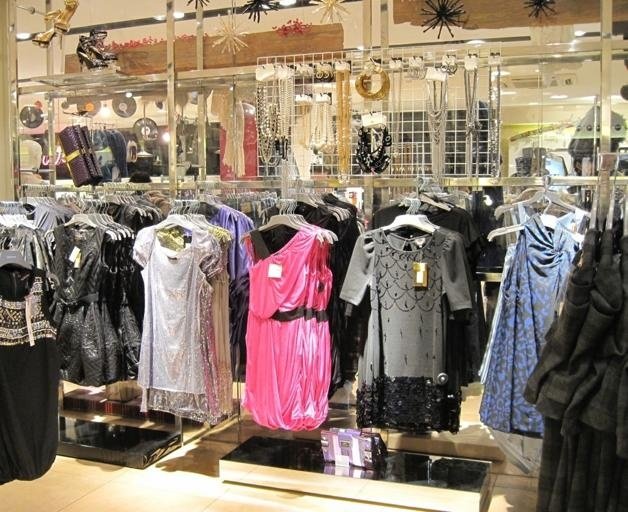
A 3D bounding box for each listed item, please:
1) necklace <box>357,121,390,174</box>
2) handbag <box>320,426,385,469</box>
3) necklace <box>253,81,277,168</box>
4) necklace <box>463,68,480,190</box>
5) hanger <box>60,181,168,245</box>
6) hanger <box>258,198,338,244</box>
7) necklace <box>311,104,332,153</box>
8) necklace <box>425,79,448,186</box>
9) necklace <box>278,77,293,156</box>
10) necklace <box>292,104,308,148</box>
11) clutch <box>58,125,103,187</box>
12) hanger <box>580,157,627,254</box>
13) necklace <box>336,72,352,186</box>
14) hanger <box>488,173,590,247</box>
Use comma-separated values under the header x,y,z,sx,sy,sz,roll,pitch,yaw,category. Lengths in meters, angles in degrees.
x,y,z,sx,sy,sz,roll,pitch,yaw,category
0.419,-0.760,4.030,0.318,0.482,0.064,5,6,37,necklace
0.268,1.221,3.912,0.313,0.233,0.250,1,6,22,handbag
-0.352,-0.974,4.345,0.155,0.596,0.339,0,5,-7,necklace
1.076,-0.902,3.950,0.105,0.735,0.205,2,5,16,necklace
-1.494,-0.364,4.661,0.641,0.341,0.393,0,6,-11,hanger
-0.110,-0.181,3.838,0.534,0.185,0.248,1,6,5,hanger
0.067,-0.953,4.247,0.151,0.346,0.104,0,5,-3,necklace
0.849,-0.888,4.013,0.148,0.761,0.315,2,5,13,necklace
-0.194,-1.009,4.237,0.117,0.583,0.341,0,5,-3,necklace
-0.094,-0.967,4.302,0.136,0.305,0.064,2,5,19,necklace
-1.862,-0.805,4.648,0.317,0.479,0.176,2,5,16,clutch
1.617,-0.273,3.213,0.155,0.614,0.214,5,-3,27,hanger
0.211,-0.956,4.121,0.102,0.735,0.196,1,5,6,necklace
1.505,-0.315,3.802,0.414,0.363,0.048,8,15,33,hanger
